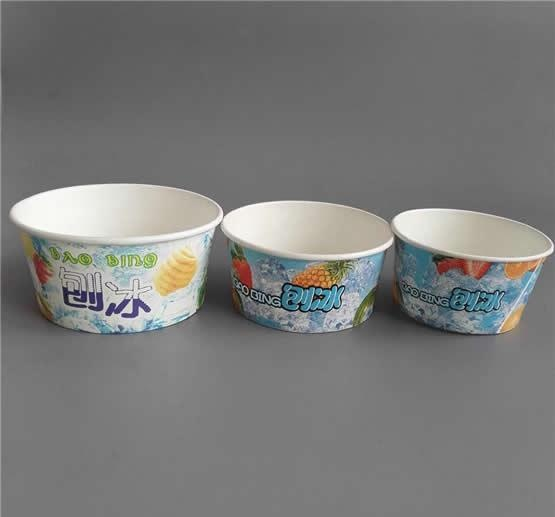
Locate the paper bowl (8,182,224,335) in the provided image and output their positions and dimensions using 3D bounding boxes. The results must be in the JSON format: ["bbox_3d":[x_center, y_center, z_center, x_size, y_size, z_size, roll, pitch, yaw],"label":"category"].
[{"bbox_3d":[-0.514,-0.020,1.795,0.619,0.354,0.601,5,25,-2],"label":"paper bowl"}]

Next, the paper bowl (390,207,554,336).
[{"bbox_3d":[0.586,0.051,1.912,0.530,0.301,0.509,3,30,-2],"label":"paper bowl"}]

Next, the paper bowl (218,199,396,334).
[{"bbox_3d":[0.082,0.013,1.853,0.555,0.322,0.543,5,25,-2],"label":"paper bowl"}]
